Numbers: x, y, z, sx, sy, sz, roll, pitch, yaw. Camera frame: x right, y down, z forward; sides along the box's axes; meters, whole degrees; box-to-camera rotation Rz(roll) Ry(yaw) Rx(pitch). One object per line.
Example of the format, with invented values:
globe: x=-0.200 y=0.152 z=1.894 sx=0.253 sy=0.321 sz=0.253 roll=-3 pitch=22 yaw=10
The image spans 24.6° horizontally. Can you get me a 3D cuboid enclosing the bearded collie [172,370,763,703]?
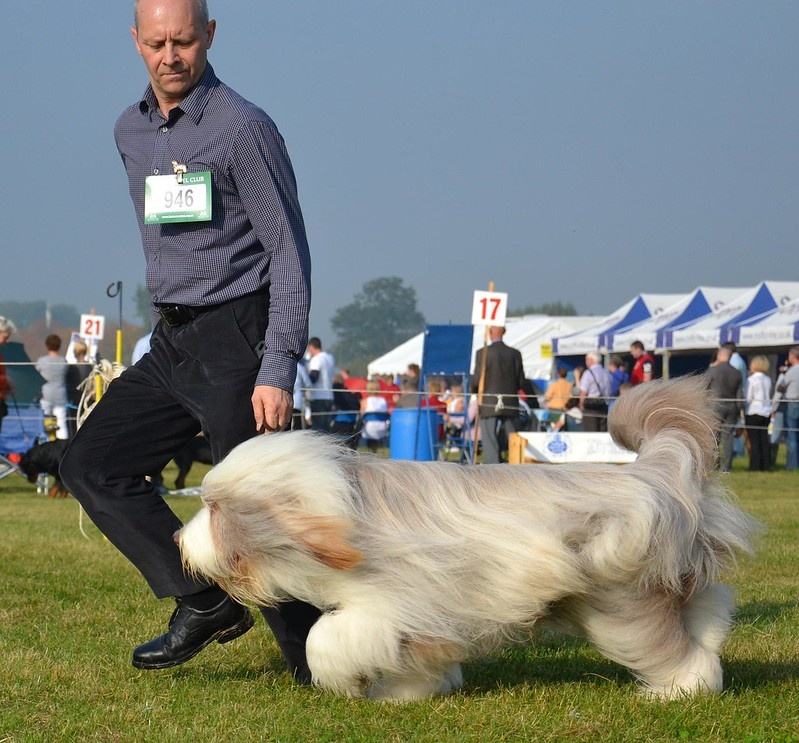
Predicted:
bearded collie: x=0.285 y=0.620 z=6.827 sx=2.063 sy=1.235 sz=0.825 roll=-2 pitch=11 yaw=-1

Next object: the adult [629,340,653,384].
adult: x=2.527 y=-0.093 z=19.186 sx=0.205 sy=0.705 sz=0.315 roll=1 pitch=-15 yaw=5

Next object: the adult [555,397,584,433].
adult: x=1.673 y=0.437 z=18.049 sx=0.286 sy=0.220 sz=0.815 roll=13 pitch=-11 yaw=1

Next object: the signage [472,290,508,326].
signage: x=0.756 y=-0.512 z=15.573 sx=0.294 sy=0.300 sz=0.436 roll=1 pitch=4 yaw=2

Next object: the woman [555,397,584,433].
woman: x=1.673 y=0.437 z=18.049 sx=0.286 sy=0.220 sz=0.815 roll=13 pitch=-11 yaw=1

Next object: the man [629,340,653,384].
man: x=2.527 y=-0.093 z=19.186 sx=0.205 sy=0.705 sz=0.315 roll=1 pitch=-15 yaw=5

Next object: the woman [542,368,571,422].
woman: x=1.648 y=0.347 z=18.965 sx=0.270 sy=0.823 sz=0.236 roll=0 pitch=28 yaw=-5

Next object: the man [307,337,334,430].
man: x=-0.840 y=0.140 z=17.882 sx=0.277 sy=0.947 sz=0.329 roll=11 pitch=24 yaw=13

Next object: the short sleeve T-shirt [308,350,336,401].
short sleeve T-shirt: x=-0.802 y=0.057 z=17.889 sx=0.250 sy=0.523 sz=0.439 roll=6 pitch=26 yaw=11

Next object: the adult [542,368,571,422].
adult: x=1.639 y=0.339 z=18.967 sx=0.272 sy=0.839 sz=0.259 roll=-2 pitch=29 yaw=-8

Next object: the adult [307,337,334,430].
adult: x=-0.845 y=0.120 z=17.871 sx=0.269 sy=0.903 sz=0.313 roll=12 pitch=27 yaw=12

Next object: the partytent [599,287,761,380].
partytent: x=3.426 y=-0.642 z=22.908 sx=2.021 sy=0.907 sz=2.049 roll=-1 pitch=-4 yaw=11
